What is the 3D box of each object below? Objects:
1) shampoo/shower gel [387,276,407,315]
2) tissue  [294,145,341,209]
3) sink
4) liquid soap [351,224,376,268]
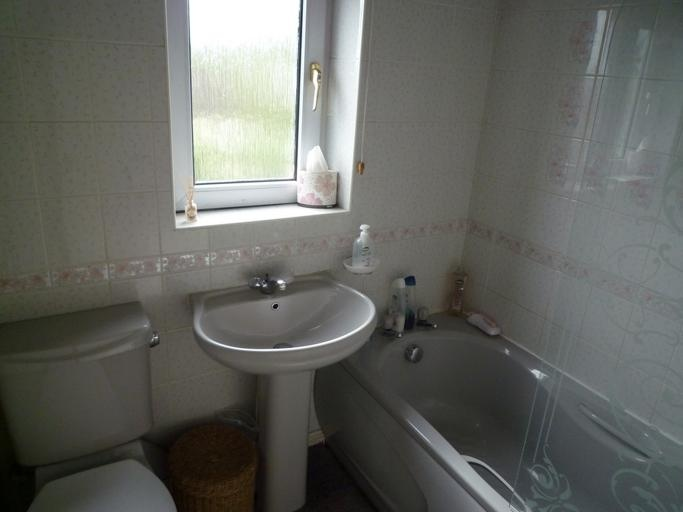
[{"bbox_3d":[0.284,0.200,2.540,0.094,0.262,0.071,-15,29,-25],"label":"shampoo/shower gel"},{"bbox_3d":[-0.092,-0.389,2.431,0.235,0.382,0.251,7,22,17],"label":"tissue "},{"bbox_3d":[-0.224,0.284,2.019,0.715,0.233,0.549,-9,18,-19],"label":"sink"},{"bbox_3d":[0.097,-0.048,2.290,0.099,0.185,0.108,-1,17,2],"label":"liquid soap"}]
